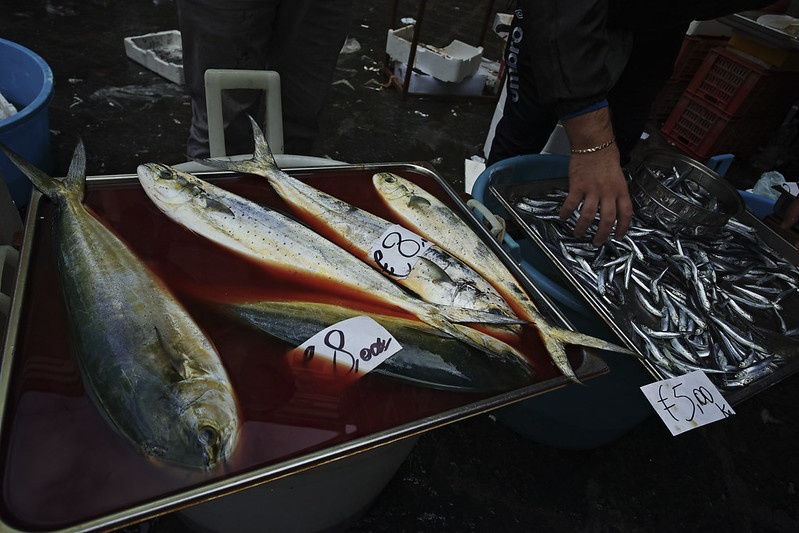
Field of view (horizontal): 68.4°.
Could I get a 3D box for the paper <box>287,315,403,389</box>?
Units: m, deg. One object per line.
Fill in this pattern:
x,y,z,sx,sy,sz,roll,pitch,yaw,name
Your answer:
-0.163,0.241,1.718,0.283,0.056,0.178,-18,72,-14,paper

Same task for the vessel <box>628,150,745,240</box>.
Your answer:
1.273,-0.302,2.747,0.543,0.217,0.552,18,7,-17,vessel

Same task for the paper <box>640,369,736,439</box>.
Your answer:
0.960,0.450,1.968,0.308,0.002,0.206,-17,66,-22,paper
